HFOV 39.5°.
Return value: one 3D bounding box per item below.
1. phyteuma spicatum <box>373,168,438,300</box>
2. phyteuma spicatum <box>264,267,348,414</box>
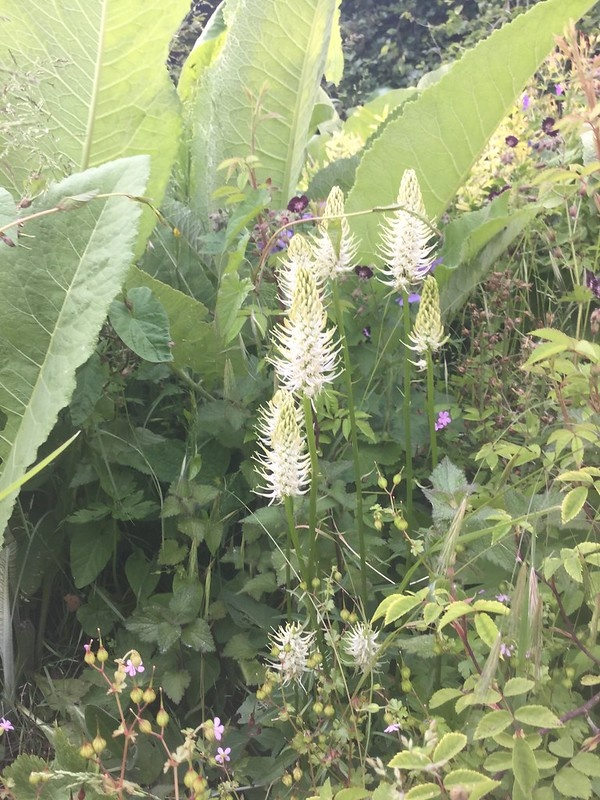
[{"bbox_3d":[0.220,-0.339,1.641,0.146,0.254,0.145,-6,17,-20],"label":"phyteuma spicatum"},{"bbox_3d":[0.012,-0.110,1.401,0.127,0.230,0.137,-5,-3,31],"label":"phyteuma spicatum"}]
